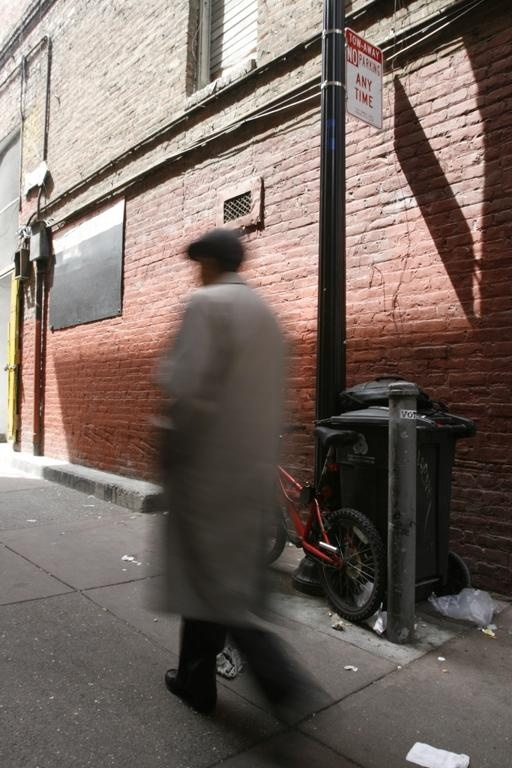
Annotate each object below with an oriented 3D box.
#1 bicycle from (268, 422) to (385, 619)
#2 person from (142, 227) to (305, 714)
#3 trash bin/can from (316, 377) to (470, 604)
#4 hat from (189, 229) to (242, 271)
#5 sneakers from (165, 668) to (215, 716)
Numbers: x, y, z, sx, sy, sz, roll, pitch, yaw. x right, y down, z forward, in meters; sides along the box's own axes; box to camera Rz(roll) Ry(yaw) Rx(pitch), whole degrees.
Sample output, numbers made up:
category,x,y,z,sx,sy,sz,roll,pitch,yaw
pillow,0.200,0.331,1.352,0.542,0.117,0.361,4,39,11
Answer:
category,x,y,z,sx,sy,sz,roll,pitch,yaw
bicycle,0.217,0.799,3.069,0.476,0.640,0.994,10,6,-25
person,-0.109,0.223,2.017,0.524,1.652,0.402,1,-2,-2
trash bin/can,0.759,0.569,3.450,1.053,1.526,0.831,2,-5,-11
hat,-0.149,-0.534,2.208,0.197,0.214,0.147,-9,21,-28
sneakers,-0.254,1.121,2.137,0.080,0.169,0.245,5,7,-35
